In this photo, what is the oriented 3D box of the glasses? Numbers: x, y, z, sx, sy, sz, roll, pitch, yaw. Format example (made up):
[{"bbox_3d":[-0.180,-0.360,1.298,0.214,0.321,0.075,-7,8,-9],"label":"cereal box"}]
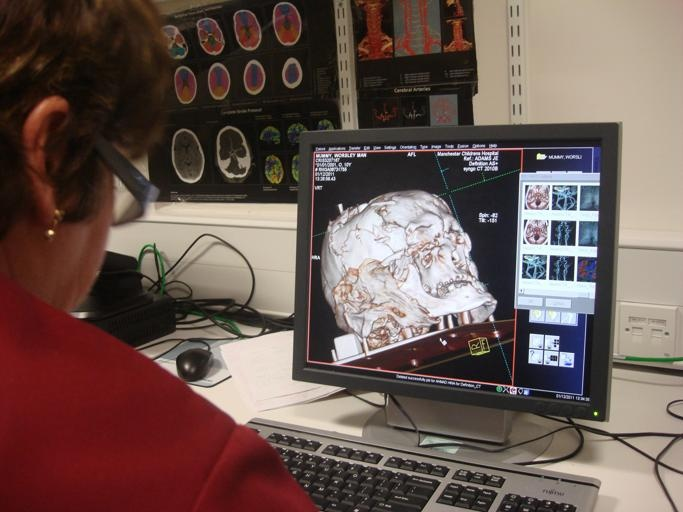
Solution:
[{"bbox_3d":[-0.225,-0.074,0.586,0.018,0.062,0.063,-33,59,-11],"label":"glasses"}]

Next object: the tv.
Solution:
[{"bbox_3d":[0.196,0.057,0.898,0.518,0.456,0.055,0,2,21],"label":"tv"}]
